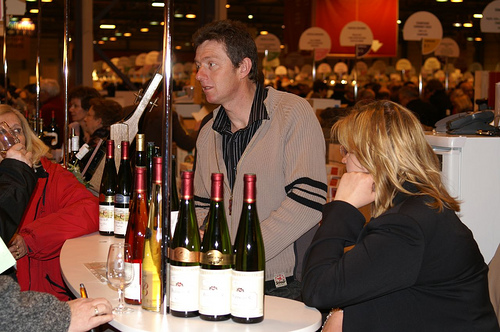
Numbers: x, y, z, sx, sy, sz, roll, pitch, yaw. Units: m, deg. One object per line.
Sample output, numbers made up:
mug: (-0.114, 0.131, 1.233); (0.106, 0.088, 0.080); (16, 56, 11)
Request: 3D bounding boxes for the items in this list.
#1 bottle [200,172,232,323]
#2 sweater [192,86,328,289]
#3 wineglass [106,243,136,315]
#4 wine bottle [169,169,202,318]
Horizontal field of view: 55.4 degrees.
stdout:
bottle: (-0.128, 0.305, 1.819); (0.119, 0.384, 0.226); (1, 0, -3)
sweater: (-0.025, 0.124, 2.548); (0.774, 1.145, 0.604); (-4, -6, 29)
wineglass: (-0.526, 0.454, 1.937); (0.104, 0.276, 0.102); (-1, -1, 6)
wine bottle: (-0.256, 0.300, 1.855); (0.131, 0.550, 0.134); (2, -2, 0)
